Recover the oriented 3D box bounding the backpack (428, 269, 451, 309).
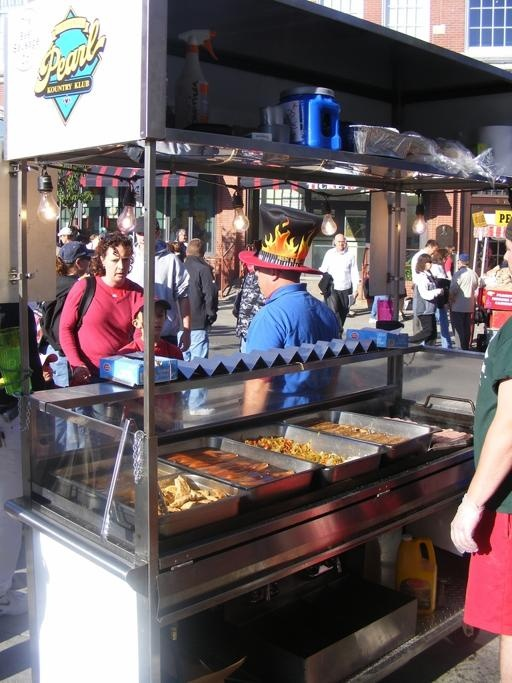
[{"bbox_3d":[3.062,-0.804,9.296,0.306,0.483,0.373,-8,9,-25],"label":"backpack"}]

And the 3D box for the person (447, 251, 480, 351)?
[{"bbox_3d":[3.403,-0.656,9.656,0.635,1.874,0.771,0,1,-7],"label":"person"}]

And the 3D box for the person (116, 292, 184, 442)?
[{"bbox_3d":[-0.473,0.154,2.948,0.403,0.772,0.400,12,16,30],"label":"person"}]

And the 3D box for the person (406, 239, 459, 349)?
[{"bbox_3d":[2.808,-0.741,9.526,0.829,1.965,0.726,9,14,38],"label":"person"}]

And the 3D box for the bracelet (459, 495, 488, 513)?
[{"bbox_3d":[0.715,0.530,1.877,0.066,0.059,0.054,2,1,0],"label":"bracelet"}]

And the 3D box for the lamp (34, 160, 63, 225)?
[{"bbox_3d":[-0.721,-0.509,1.990,0.084,0.189,0.082,-7,18,-16],"label":"lamp"}]

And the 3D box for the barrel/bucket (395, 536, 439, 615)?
[{"bbox_3d":[0.803,1.126,2.877,0.220,0.329,0.276,11,15,35],"label":"barrel/bucket"}]
